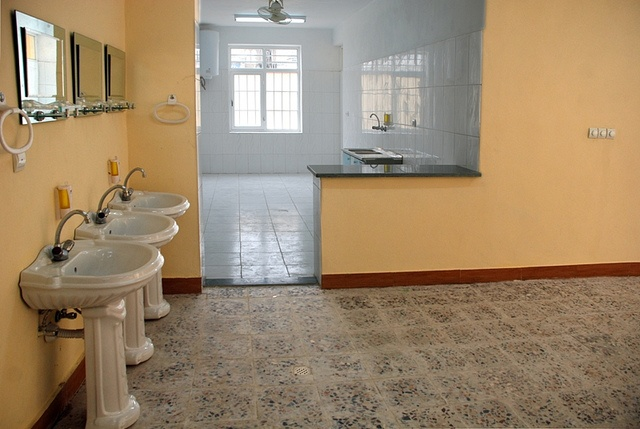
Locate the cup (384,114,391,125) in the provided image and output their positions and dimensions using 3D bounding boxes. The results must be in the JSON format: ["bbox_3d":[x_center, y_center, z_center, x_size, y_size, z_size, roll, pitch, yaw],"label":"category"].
[{"bbox_3d":[1.005,-1.410,6.580,0.109,0.175,0.296,1,14,7],"label":"cup"}]

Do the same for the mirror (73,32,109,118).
[{"bbox_3d":[-1.716,-1.019,3.286,0.116,0.556,0.554,-5,15,-13],"label":"mirror"}]

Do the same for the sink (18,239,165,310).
[{"bbox_3d":[-1.324,0.346,2.687,0.672,0.248,0.658,4,14,-6],"label":"sink"}]

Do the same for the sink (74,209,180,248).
[{"bbox_3d":[-1.392,0.088,3.356,0.447,0.165,0.356,1,24,-15],"label":"sink"}]

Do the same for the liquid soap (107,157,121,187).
[{"bbox_3d":[-1.790,-0.382,3.865,0.079,0.216,0.215,-5,15,-13],"label":"liquid soap"}]
